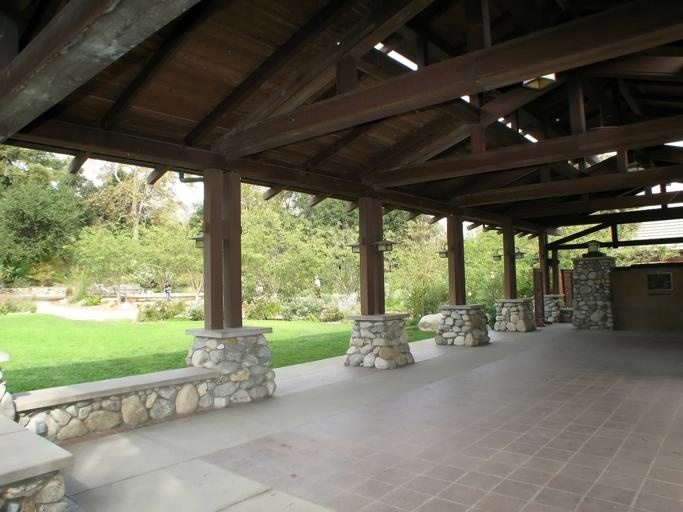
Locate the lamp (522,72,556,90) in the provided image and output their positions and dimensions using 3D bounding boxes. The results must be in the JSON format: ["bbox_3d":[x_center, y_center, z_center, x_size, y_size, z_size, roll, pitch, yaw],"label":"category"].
[{"bbox_3d":[3.126,-2.725,6.816,0.444,0.113,0.686,-1,-3,21],"label":"lamp"}]

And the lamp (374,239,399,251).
[{"bbox_3d":[0.945,-0.220,9.117,0.335,0.175,0.297,1,-3,-23],"label":"lamp"}]
